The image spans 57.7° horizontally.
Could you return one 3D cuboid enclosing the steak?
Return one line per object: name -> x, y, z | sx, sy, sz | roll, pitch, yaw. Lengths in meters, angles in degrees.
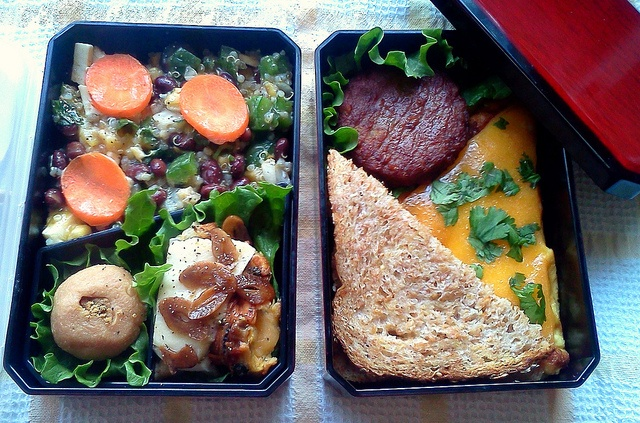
steak -> 0.357, -0.408, 2.588 | 0.476, 0.128, 0.524 | -6, 85, -5
